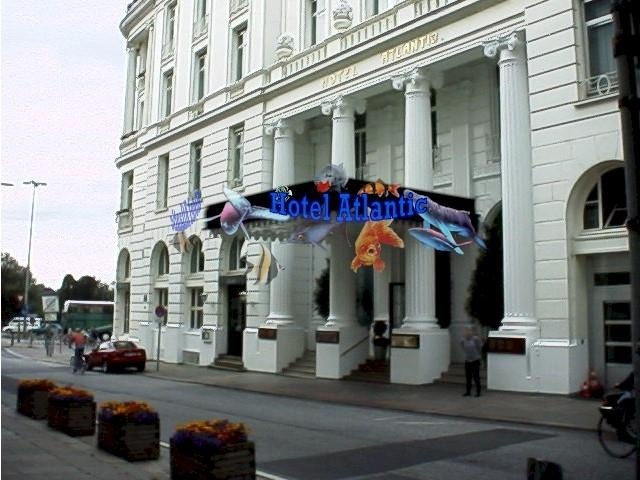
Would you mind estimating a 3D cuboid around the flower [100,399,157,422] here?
[{"bbox_3d":[-3.730,3.273,12.880,0.677,0.231,0.540,1,-13,8],"label":"flower"}]

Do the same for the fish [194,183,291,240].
[{"bbox_3d":[-2.847,-1.041,25.362,3.681,1.981,1.329,-10,-2,19],"label":"fish"}]

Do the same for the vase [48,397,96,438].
[{"bbox_3d":[-5.473,3.849,14.604,1.041,0.773,0.711,-1,-5,-4],"label":"vase"}]

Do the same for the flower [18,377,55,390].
[{"bbox_3d":[-6.793,3.481,16.241,0.487,0.234,0.561,-3,-9,39],"label":"flower"}]

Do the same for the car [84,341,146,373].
[{"bbox_3d":[-9.820,5.587,32.187,3.076,1.413,1.508,-5,-6,37],"label":"car"}]

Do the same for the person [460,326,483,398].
[{"bbox_3d":[4.761,3.717,20.811,0.788,2.455,0.686,1,-1,38],"label":"person"}]

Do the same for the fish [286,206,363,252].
[{"bbox_3d":[0.189,-0.486,24.757,2.825,1.615,1.128,-19,1,45],"label":"fish"}]

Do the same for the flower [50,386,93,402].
[{"bbox_3d":[-5.544,3.386,14.737,0.482,0.234,0.467,5,-4,33],"label":"flower"}]
